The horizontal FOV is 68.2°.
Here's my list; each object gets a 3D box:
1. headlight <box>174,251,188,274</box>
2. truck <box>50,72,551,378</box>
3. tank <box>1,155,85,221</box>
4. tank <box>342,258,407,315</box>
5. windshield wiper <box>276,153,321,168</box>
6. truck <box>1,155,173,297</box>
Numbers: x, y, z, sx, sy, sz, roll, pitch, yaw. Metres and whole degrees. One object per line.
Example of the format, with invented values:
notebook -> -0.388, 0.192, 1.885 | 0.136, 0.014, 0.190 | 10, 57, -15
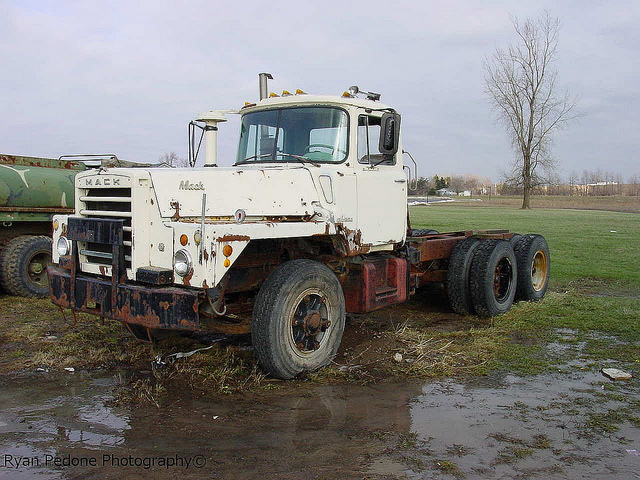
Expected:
headlight -> -1.439, 0.229, 4.969 | 0.179, 0.206, 0.082 | 15, 18, 23
truck -> 0.543, -0.081, 8.247 | 3.493, 3.716, 8.287 | -1, 0, 41
tank -> -5.312, -0.923, 8.928 | 1.656, 1.044, 0.883 | -6, 10, -45
tank -> 0.756, 0.629, 7.069 | 0.612, 0.698, 1.149 | 8, 9, 42
windshield wiper -> -0.255, -1.025, 6.092 | 0.465, 0.067, 0.053 | 27, 1, 36
truck -> -3.343, -0.130, 6.534 | 0.929, 1.378, 2.680 | 10, 11, 40
